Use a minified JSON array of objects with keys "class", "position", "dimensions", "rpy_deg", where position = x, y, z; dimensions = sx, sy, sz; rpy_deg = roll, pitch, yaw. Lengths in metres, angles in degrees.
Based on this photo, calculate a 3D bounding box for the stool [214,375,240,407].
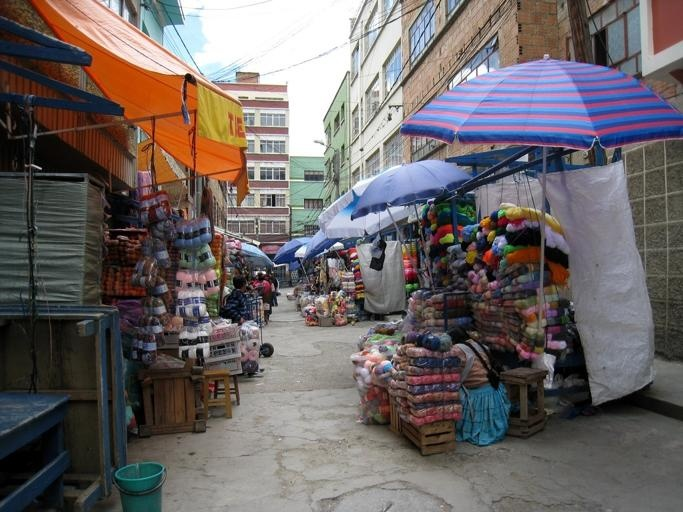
[{"class":"stool","position":[-1.805,2.175,9.830],"dimensions":[0.449,0.744,0.505],"rpy_deg":[0,-9,-3]}]

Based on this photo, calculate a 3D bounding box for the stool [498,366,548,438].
[{"class":"stool","position":[2.390,1.937,8.003],"dimensions":[0.636,0.743,0.648],"rpy_deg":[-9,-8,23]}]

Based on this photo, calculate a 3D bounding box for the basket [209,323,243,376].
[{"class":"basket","position":[-1.900,1.480,9.926],"dimensions":[0.672,0.908,0.712],"rpy_deg":[-1,3,-15]}]

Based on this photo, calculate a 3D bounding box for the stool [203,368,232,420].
[{"class":"stool","position":[-1.866,2.042,9.201],"dimensions":[0.392,0.430,0.414],"rpy_deg":[-20,-4,11]}]

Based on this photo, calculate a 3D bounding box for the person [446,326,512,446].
[{"class":"person","position":[1.760,1.673,8.055],"dimensions":[0.791,1.390,0.998],"rpy_deg":[3,15,34]}]
